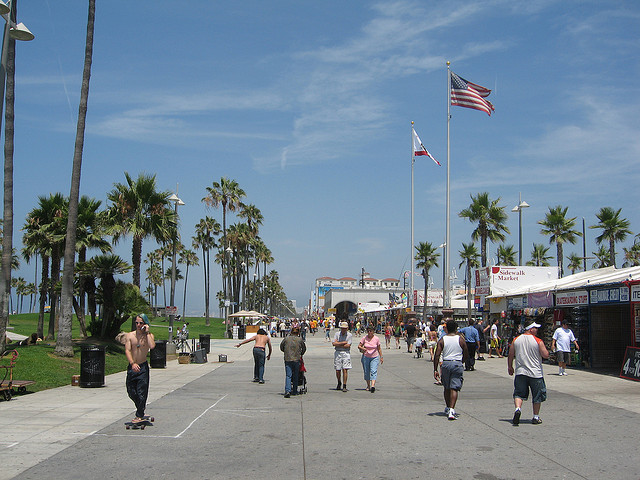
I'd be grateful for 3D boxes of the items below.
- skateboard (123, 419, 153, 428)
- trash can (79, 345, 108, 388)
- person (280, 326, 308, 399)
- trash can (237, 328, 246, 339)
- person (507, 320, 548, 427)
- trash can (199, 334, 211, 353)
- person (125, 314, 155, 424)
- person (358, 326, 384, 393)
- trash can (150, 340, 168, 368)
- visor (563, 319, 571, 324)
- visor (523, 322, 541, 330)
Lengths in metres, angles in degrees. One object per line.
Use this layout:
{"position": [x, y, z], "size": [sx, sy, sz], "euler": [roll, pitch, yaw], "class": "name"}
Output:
{"position": [-3.680, 3.767, 13.131], "size": [0.509, 0.138, 0.237], "euler": [0, -8, -20], "class": "skateboard"}
{"position": [-6.571, 3.631, 18.695], "size": [0.712, 1.227, 0.726], "euler": [4, -3, -41], "class": "trash can"}
{"position": [-0.731, 3.361, 17.829], "size": [0.656, 1.902, 1.560], "euler": [-2, -7, -3], "class": "person"}
{"position": [-6.736, 8.028, 55.031], "size": [0.523, 0.916, 2.604], "euler": [-1, -8, -7], "class": "trash can"}
{"position": [4.465, 2.894, 13.871], "size": [0.799, 2.146, 0.704], "euler": [-4, -6, 14], "class": "person"}
{"position": [-5.783, 5.236, 32.349], "size": [0.746, 1.280, 0.793], "euler": [0, -5, -9], "class": "trash can"}
{"position": [-3.739, 2.669, 13.370], "size": [0.539, 2.216, 0.849], "euler": [0, -7, -17], "class": "person"}
{"position": [1.467, 3.462, 18.649], "size": [0.586, 1.880, 1.475], "euler": [-3, -7, 6], "class": "person"}
{"position": [-6.267, 4.459, 24.936], "size": [0.596, 1.016, 0.548], "euler": [0, -7, -16], "class": "trash can"}
{"position": [9.871, 3.287, 25.798], "size": [0.234, 0.147, 0.394], "euler": [0, -8, -3], "class": "visor"}
{"position": [4.720, 1.905, 14.252], "size": [0.369, 0.137, 0.253], "euler": [-18, -8, 4], "class": "visor"}
